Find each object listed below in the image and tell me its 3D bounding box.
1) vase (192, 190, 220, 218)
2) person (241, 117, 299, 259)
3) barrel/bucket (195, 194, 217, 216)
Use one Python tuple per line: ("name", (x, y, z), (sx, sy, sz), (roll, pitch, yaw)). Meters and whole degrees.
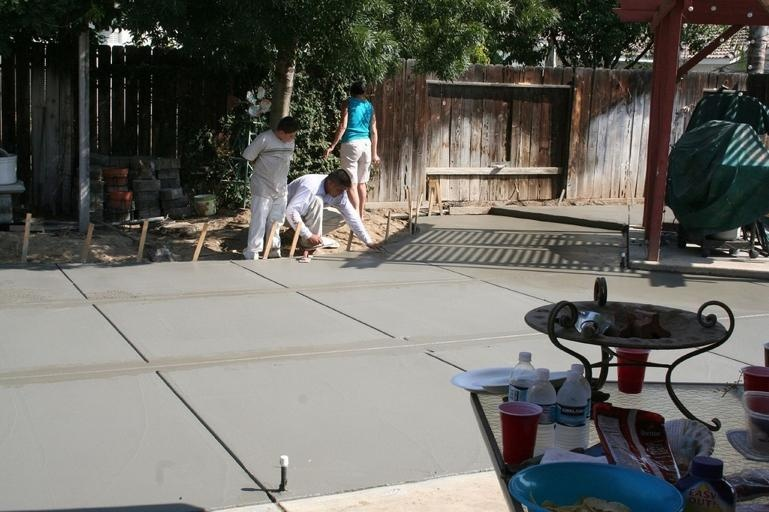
("vase", (-2.981, -0.872, 12.409), (0.377, 0.315, 0.371), (1, 3, 21))
("person", (-1.473, -0.864, 9.566), (0.712, 1.852, 0.457), (-2, 14, -12))
("barrel/bucket", (-2.943, -0.848, 12.333), (0.316, 0.283, 0.329), (-1, 9, 0))
